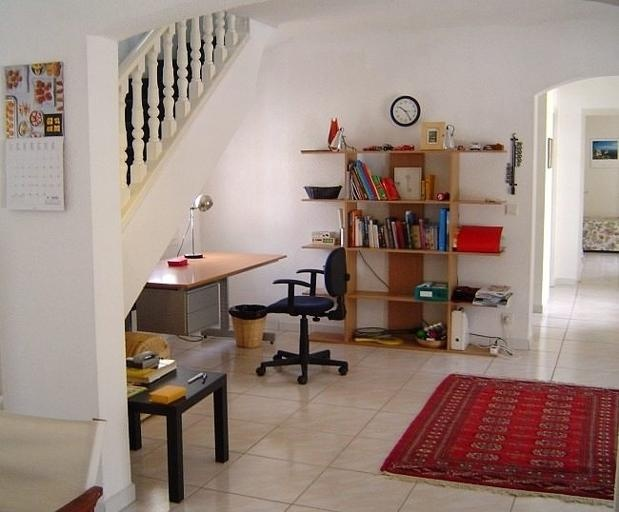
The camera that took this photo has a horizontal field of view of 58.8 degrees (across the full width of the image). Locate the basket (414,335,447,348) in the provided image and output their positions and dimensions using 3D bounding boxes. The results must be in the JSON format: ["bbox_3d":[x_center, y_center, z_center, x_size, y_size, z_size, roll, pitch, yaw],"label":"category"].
[{"bbox_3d":[1.206,0.862,5.473,0.269,0.099,0.117,1,8,15],"label":"basket"}]

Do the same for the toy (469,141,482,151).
[{"bbox_3d":[1.579,-1.025,5.247,0.131,0.073,0.125,0,3,-2],"label":"toy"}]

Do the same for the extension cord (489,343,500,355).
[{"bbox_3d":[1.792,0.900,5.330,0.099,0.083,0.233,3,8,24],"label":"extension cord"}]

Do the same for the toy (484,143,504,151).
[{"bbox_3d":[1.738,-1.021,5.207,0.181,0.089,0.235,1,8,16],"label":"toy"}]

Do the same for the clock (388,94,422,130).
[{"bbox_3d":[0.952,-1.434,5.498,0.312,0.291,0.064,0,8,21],"label":"clock"}]

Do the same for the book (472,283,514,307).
[{"bbox_3d":[1.758,0.390,5.296,0.322,0.164,0.371,3,8,25],"label":"book"}]

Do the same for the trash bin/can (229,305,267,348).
[{"bbox_3d":[-0.603,0.701,5.698,0.496,0.391,0.448,0,0,-4],"label":"trash bin/can"}]

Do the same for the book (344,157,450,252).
[{"bbox_3d":[0.889,-0.498,5.496,1.032,0.876,0.319,1,4,7],"label":"book"}]

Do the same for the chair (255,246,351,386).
[{"bbox_3d":[-0.146,0.439,5.385,1.094,1.437,1.111,3,4,12],"label":"chair"}]

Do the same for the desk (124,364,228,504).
[{"bbox_3d":[-0.842,0.903,3.258,0.595,0.632,0.776,2,8,18],"label":"desk"}]

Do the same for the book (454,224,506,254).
[{"bbox_3d":[1.582,-0.150,5.197,0.324,0.077,0.325,2,40,18],"label":"book"}]

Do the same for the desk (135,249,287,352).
[{"bbox_3d":[-0.913,0.086,4.731,0.807,0.710,1.548,2,9,18],"label":"desk"}]

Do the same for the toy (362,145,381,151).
[{"bbox_3d":[0.621,-1.073,5.523,0.174,0.087,0.368,0,8,5],"label":"toy"}]
